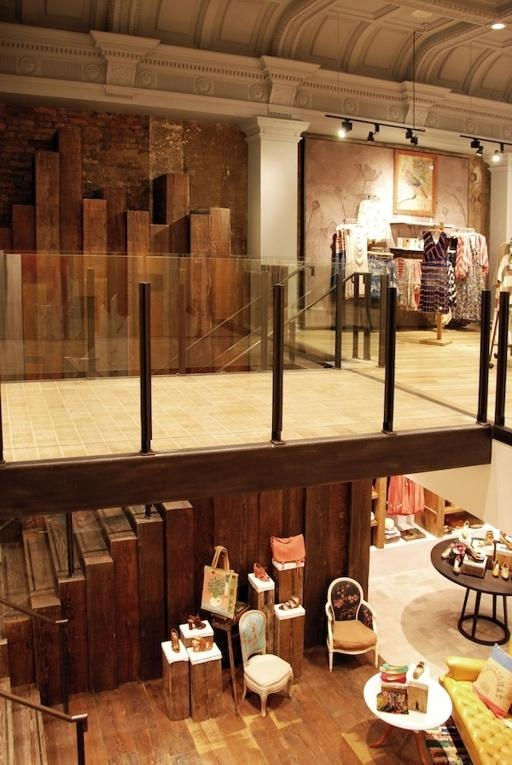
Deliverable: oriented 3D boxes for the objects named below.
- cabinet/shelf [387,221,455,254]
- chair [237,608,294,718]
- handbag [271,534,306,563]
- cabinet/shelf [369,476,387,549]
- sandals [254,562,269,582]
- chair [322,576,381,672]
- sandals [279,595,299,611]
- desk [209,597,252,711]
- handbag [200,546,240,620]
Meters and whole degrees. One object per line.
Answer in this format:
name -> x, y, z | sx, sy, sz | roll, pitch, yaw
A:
cabinet/shelf -> 2.276, -2.153, 8.319 | 0.848, 0.438, 0.231 | 3, 1, -23
chair -> 0.059, 2.094, 4.364 | 0.406, 0.636, 0.543 | 3, 1, 16
handbag -> 0.276, 1.392, 4.792 | 0.296, 0.260, 0.190 | 0, -4, -18
cabinet/shelf -> 1.561, 1.649, 7.326 | 0.172, 0.858, 0.213 | 3, 1, 17
sandals -> 0.035, 1.553, 4.735 | 0.107, 0.111, 0.229 | 3, 1, -22
chair -> 0.821, 2.083, 4.963 | 0.447, 0.709, 0.430 | 3, 1, -4
sandals -> 0.275, 1.798, 4.693 | 0.118, 0.055, 0.074 | 2, -4, -31
desk -> -0.142, 2.124, 4.478 | 0.344, 0.543, 0.329 | -12, -19, -23
handbag -> -0.276, 1.524, 4.406 | 0.282, 0.472, 0.453 | 3, 1, -4
